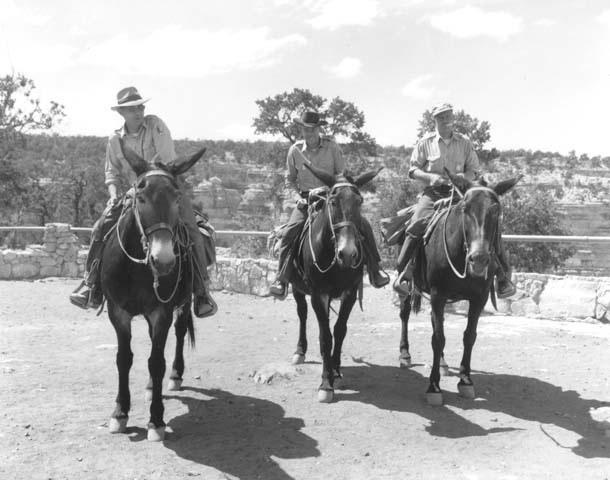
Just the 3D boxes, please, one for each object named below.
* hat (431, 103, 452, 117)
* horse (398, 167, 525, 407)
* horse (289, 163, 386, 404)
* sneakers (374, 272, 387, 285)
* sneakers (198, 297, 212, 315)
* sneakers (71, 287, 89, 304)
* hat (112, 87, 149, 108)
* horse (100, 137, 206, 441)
[{"bbox_3d":[2.106,-2.029,9.693,0.289,0.193,0.509,2,7,13],"label":"hat"},{"bbox_3d":[2.139,0.596,8.962,1.090,3.104,2.309,0,7,-3],"label":"horse"},{"bbox_3d":[0.379,0.466,9.354,1.129,3.263,2.136,0,7,-3],"label":"horse"},{"bbox_3d":[1.210,0.647,10.009,0.191,0.226,0.252,2,10,7],"label":"sneakers"},{"bbox_3d":[-1.398,0.900,8.701,0.152,0.254,0.253,2,7,-2],"label":"sneakers"},{"bbox_3d":[-3.163,0.781,8.797,0.183,0.254,0.096,17,-6,30],"label":"sneakers"},{"bbox_3d":[-2.325,-1.914,8.303,0.347,0.296,0.696,-3,7,-28],"label":"hat"},{"bbox_3d":[-1.896,0.513,7.764,1.144,3.480,2.148,-2,7,-15],"label":"horse"}]
